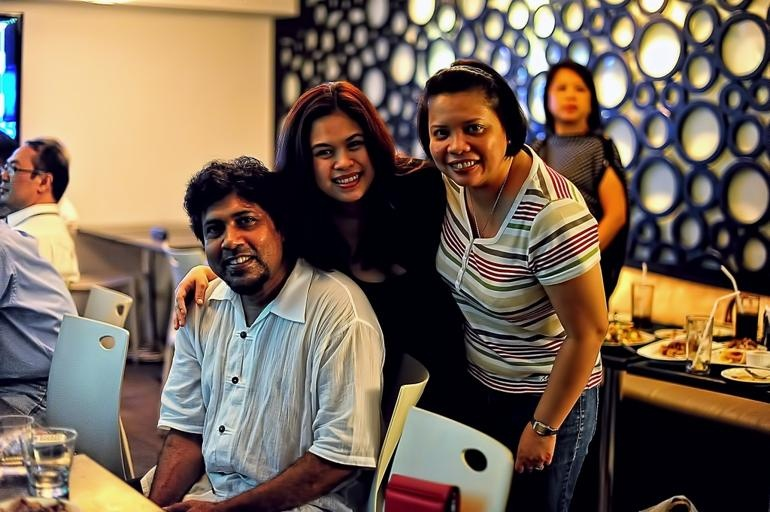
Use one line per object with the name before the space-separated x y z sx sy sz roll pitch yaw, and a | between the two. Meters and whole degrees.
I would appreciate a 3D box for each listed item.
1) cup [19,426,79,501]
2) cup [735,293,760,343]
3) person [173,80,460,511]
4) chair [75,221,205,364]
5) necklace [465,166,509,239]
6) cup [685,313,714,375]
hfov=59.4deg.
cup | -0.992 0.618 2.005 0.157 0.203 0.179 0 -7 12
cup | 1.677 0.285 3.127 0.110 0.208 0.161 6 7 28
person | -0.070 0.235 2.723 1.338 1.787 0.537 -3 21 10
chair | -1.667 0.240 4.558 0.480 0.713 0.954 -9 20 -30
necklace | 0.336 -0.173 2.283 0.172 0.044 0.181 -23 37 32
cup | 1.349 0.381 2.908 0.110 0.229 0.179 5 7 24
